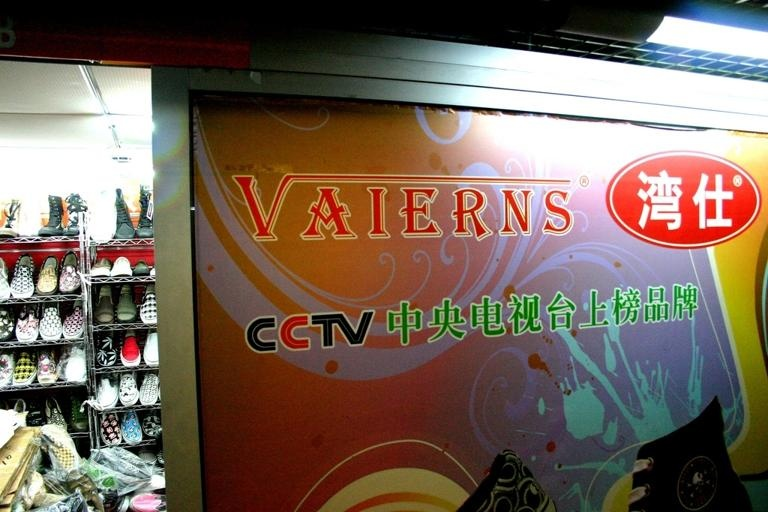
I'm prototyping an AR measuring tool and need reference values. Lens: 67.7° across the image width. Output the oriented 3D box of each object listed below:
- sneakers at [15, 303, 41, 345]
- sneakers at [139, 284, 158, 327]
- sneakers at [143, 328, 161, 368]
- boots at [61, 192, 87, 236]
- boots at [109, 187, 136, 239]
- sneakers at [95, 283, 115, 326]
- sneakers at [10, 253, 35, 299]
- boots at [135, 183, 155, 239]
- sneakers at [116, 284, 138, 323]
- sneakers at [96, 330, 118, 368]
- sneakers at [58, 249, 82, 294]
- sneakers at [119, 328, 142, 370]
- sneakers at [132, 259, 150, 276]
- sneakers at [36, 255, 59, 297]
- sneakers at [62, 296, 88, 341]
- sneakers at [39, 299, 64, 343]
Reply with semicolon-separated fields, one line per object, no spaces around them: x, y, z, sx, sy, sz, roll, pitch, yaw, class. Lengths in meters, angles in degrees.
-2.433;0.442;3.940;0.131;0.110;0.375;7;27;-28;sneakers
-1.644;0.311;4.068;0.145;0.138;0.388;-3;28;-22;sneakers
-1.616;0.630;3.992;0.088;0.247;0.184;1;-7;-18;sneakers
-2.102;-0.289;3.935;0.121;0.280;0.173;3;-8;-32;boots
-1.806;-0.288;4.036;0.126;0.387;0.161;-10;-19;-17;boots
-1.928;0.330;3.993;0.111;0.111;0.305;-1;52;-28;sneakers
-2.478;0.116;3.963;0.142;0.104;0.389;0;38;-27;sneakers
-1.694;-0.323;4.067;0.135;0.293;0.404;-3;29;-21;boots
-1.815;0.322;4.070;0.141;0.134;0.385;3;28;-25;sneakers
-1.926;0.611;4.004;0.116;0.126;0.317;3;33;-29;sneakers
-2.174;0.091;4.000;0.143;0.113;0.373;1;45;-25;sneakers
-1.775;0.618;4.045;0.134;0.106;0.377;6;26;-25;sneakers
-1.672;0.081;4.043;0.090;0.114;0.146;-13;14;4;sneakers
-2.308;0.114;3.984;0.131;0.098;0.359;9;39;-26;sneakers
-2.118;0.410;3.967;0.126;0.132;0.366;4;31;-17;sneakers
-2.310;0.401;3.998;0.153;0.131;0.416;3;35;-33;sneakers
